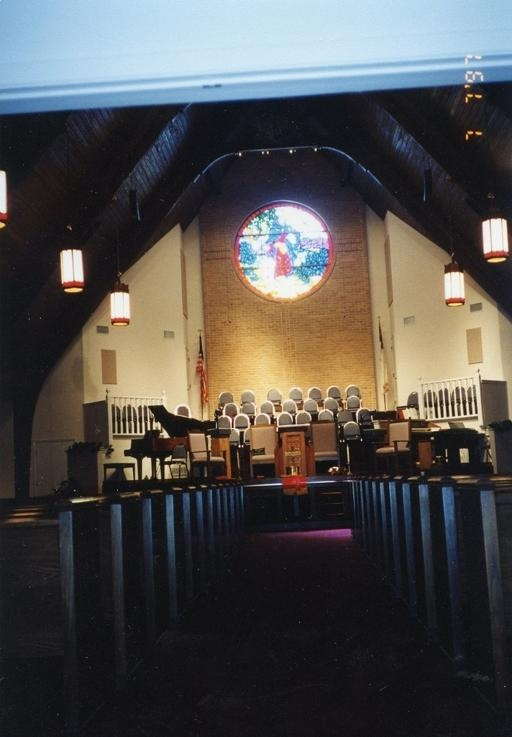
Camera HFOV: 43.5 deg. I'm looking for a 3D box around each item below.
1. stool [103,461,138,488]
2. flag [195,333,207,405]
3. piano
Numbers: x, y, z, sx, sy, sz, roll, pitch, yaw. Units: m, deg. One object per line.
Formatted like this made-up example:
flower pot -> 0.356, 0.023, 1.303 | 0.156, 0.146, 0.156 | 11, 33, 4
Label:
stool -> -2.129, 1.636, 9.884 | 0.482, 0.535, 0.368 | 2, -5, -33
flag -> -1.216, 0.000, 14.258 | 0.239, 1.724, 0.877 | 0, -8, -6
piano -> -1.186, 1.047, 9.331 | 1.321, 1.145, 0.810 | 3, -5, -36
